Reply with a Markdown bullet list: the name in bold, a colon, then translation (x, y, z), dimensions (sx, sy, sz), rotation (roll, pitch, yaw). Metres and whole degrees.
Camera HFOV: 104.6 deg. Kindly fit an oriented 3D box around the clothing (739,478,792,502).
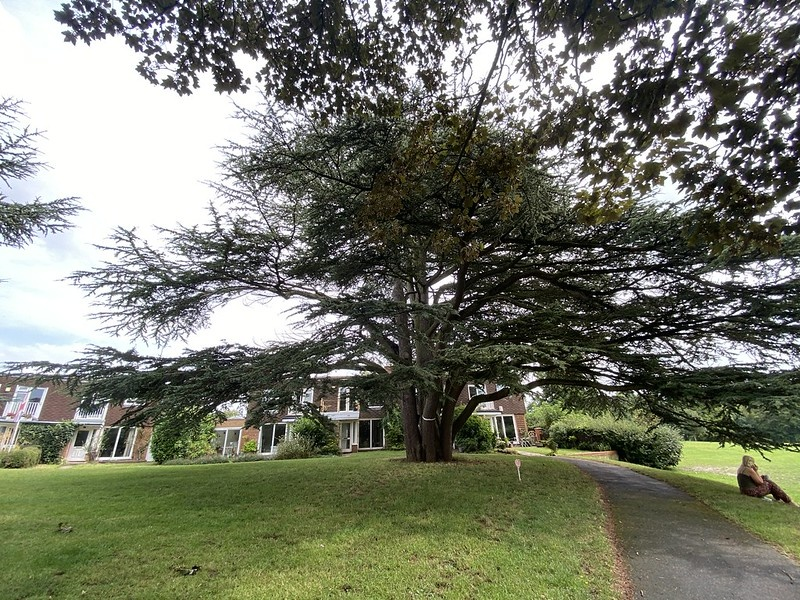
- **clothing**: translation (9.811, 5.846, 9.638), dimensions (0.969, 0.623, 0.637), rotation (-12, -20, 38)
